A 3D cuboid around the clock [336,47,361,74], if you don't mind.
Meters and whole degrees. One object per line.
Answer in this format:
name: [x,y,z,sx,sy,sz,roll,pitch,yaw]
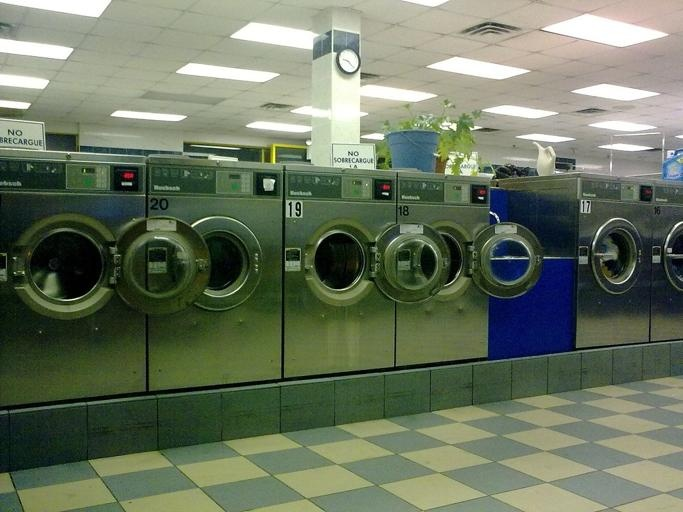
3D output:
clock: [0.079,-2.311,7.052,0.322,0.331,0.129,-4,8,-35]
